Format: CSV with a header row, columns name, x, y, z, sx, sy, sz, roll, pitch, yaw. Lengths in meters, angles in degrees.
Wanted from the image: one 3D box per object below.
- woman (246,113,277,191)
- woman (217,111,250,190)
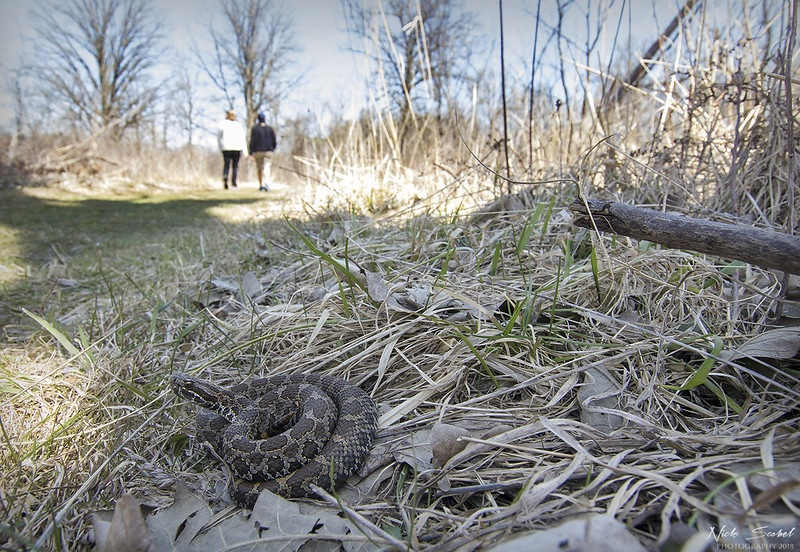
name,x,y,z,sx,sy,sz,roll,pitch,yaw
woman,-1.721,-1.590,7.956,0.386,0.626,1.069,-7,-20,-16
woman,-1.998,-1.480,7.662,0.324,1.034,0.989,-7,19,-15
